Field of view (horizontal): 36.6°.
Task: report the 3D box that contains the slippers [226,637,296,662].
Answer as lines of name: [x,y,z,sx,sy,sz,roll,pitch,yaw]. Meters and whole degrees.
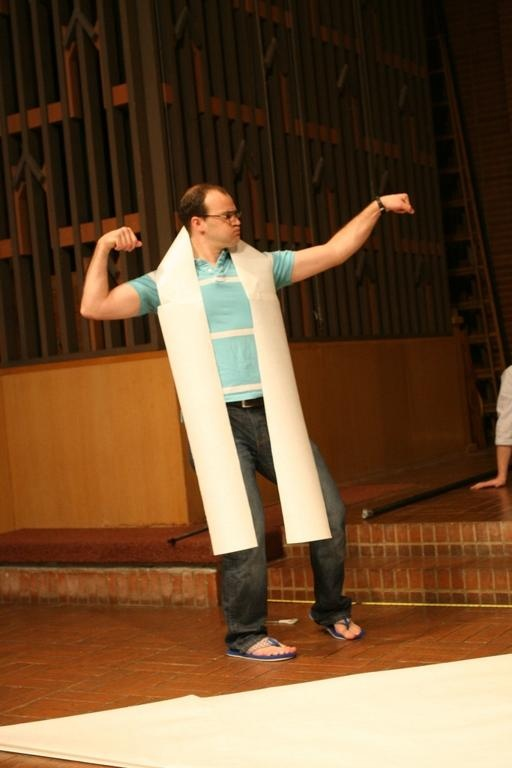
slippers: [0.027,0.803,2.376,0.151,0.043,0.079,-6,-10,30]

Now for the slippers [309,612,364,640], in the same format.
slippers: [0.267,0.772,2.522,0.069,0.047,0.188,-4,1,-31]

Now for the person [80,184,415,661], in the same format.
person: [0.006,0.123,2.388,0.862,1.509,0.427,-12,7,-20]
